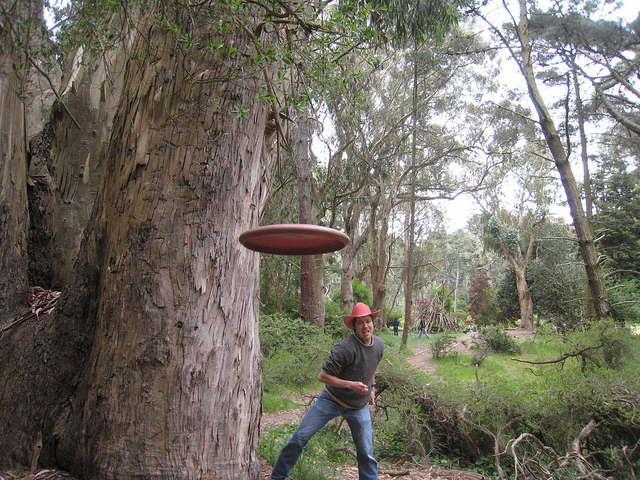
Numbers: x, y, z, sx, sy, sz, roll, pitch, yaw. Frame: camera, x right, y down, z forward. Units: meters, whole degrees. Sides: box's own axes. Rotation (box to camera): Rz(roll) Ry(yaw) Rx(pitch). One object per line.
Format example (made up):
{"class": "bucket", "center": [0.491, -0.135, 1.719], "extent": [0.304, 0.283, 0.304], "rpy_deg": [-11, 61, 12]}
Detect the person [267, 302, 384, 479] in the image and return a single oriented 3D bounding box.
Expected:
{"class": "person", "center": [0.219, 1.802, 6.713], "extent": [1.052, 1.974, 1.054], "rpy_deg": [1, -12, 7]}

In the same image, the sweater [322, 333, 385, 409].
{"class": "sweater", "center": [0.442, 1.503, 6.560], "extent": [0.834, 0.904, 0.467], "rpy_deg": [2, 12, -35]}

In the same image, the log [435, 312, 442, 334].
{"class": "log", "center": [5.868, 4.055, 27.359], "extent": [0.305, 0.999, 0.465], "rpy_deg": [3, -12, -6]}

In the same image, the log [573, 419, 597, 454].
{"class": "log", "center": [3.665, 2.723, 7.661], "extent": [0.139, 0.532, 0.124], "rpy_deg": [43, -34, 0]}

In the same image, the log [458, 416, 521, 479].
{"class": "log", "center": [2.278, 2.898, 7.455], "extent": [0.701, 0.911, 0.702], "rpy_deg": [0, -2, -36]}
